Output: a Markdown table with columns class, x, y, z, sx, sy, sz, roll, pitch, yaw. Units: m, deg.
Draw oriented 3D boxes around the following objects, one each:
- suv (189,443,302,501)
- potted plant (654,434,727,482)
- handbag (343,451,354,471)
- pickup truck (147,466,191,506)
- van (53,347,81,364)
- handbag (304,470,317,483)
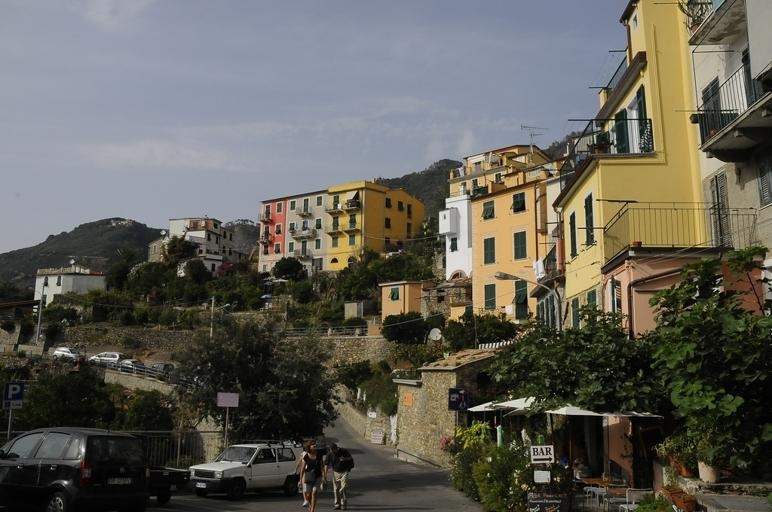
| class | x | y | z | sx | sy | sz | roll | pitch | yaw |
| --- | --- | --- | --- | --- | --- | --- | --- | --- | --- |
| suv | -5.339 | 8.255 | 37.883 | 2.533 | 2.167 | 4.389 | -7 | -12 | 40 |
| potted plant | 9.423 | 6.251 | 30.159 | 1.442 | 1.479 | 1.325 | -2 | 0 | -5 |
| handbag | -1.274 | 7.313 | 34.660 | 0.312 | 0.674 | 0.449 | -5 | -4 | -42 |
| pickup truck | -7.786 | 8.156 | 34.668 | 1.113 | 1.292 | 3.632 | 0 | -11 | -3 |
| van | -24.139 | 7.534 | 73.508 | 1.931 | 1.097 | 1.099 | -1 | 0 | 6 |
| handbag | -2.619 | 7.663 | 33.815 | 0.316 | 0.350 | 0.348 | -13 | -15 | 35 |
